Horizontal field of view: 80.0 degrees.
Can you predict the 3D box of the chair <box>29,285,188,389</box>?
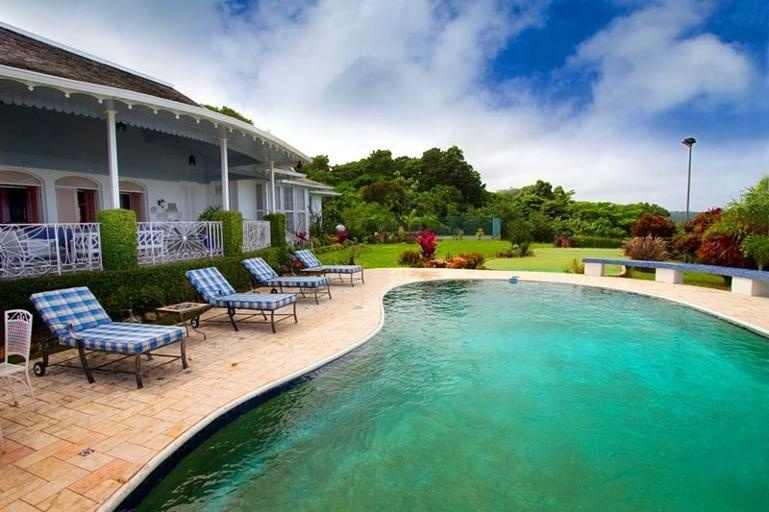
[{"bbox_3d":[-5.985,1.700,9.884,2.842,1.703,1.537,3,6,15],"label":"chair"}]
